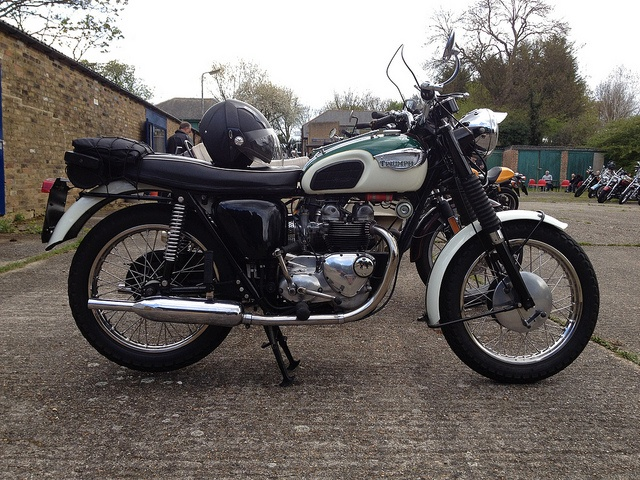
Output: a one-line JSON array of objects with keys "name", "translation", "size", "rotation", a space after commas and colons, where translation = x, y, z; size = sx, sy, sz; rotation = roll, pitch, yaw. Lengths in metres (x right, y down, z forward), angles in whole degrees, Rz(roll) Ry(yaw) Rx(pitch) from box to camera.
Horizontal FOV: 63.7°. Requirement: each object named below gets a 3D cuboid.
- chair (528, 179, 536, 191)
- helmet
[{"name": "chair", "translation": [13.633, -3.598, 32.919], "size": [0.481, 0.724, 0.540], "rotation": [1, 2, 12]}, {"name": "helmet", "translation": [-0.528, -0.691, 3.330], "size": [0.480, 0.410, 0.399], "rotation": [-4, 18, -12]}]
